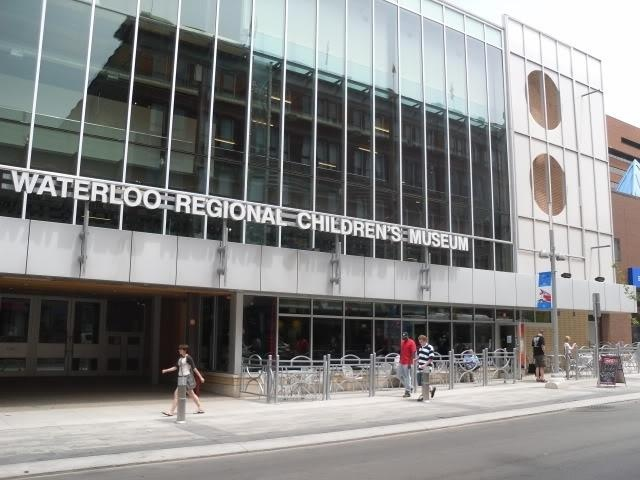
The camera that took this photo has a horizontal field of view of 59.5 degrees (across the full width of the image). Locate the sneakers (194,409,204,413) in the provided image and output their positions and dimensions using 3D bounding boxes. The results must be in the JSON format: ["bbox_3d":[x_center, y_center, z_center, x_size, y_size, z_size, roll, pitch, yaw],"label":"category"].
[{"bbox_3d":[-3.770,5.315,17.408,0.293,0.133,0.095,1,-12,6],"label":"sneakers"}]

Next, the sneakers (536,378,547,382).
[{"bbox_3d":[10.602,6.680,26.801,0.530,0.248,0.197,7,-8,-30],"label":"sneakers"}]

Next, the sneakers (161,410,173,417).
[{"bbox_3d":[-4.610,5.229,16.865,0.378,0.159,0.227,1,-16,23],"label":"sneakers"}]

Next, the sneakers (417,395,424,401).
[{"bbox_3d":[3.678,5.808,20.605,0.176,0.196,0.184,-1,-19,4],"label":"sneakers"}]

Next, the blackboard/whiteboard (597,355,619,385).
[{"bbox_3d":[12.531,5.681,24.302,0.783,1.341,0.778,12,-11,-34],"label":"blackboard/whiteboard"}]
